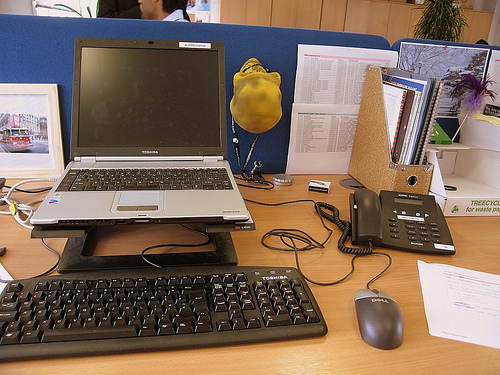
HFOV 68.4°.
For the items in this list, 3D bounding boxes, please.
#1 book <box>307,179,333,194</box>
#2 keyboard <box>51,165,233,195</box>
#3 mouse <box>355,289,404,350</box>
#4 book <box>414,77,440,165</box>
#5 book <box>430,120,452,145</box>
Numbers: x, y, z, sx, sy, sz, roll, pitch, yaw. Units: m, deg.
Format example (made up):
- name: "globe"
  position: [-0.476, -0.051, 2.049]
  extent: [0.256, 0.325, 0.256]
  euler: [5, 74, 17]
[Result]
- name: "book"
  position: [0.248, -0.011, 1.304]
  extent: [0.079, 0.024, 0.100]
  euler: [6, 21, 16]
- name: "keyboard"
  position: [-0.266, -0.021, 0.968]
  extent: [0.433, 0.041, 0.146]
  euler: [-3, 21, -8]
- name: "mouse"
  position: [0.252, 0.257, 0.725]
  extent: [0.081, 0.055, 0.105]
  euler: [4, 21, 11]
- name: "book"
  position: [0.523, -0.193, 1.094]
  extent: [0.046, 0.253, 0.017]
  euler: [-11, 23, -26]
- name: "book"
  position: [0.724, -0.216, 1.391]
  extent: [0.090, 0.021, 0.094]
  euler: [0, 56, -6]
